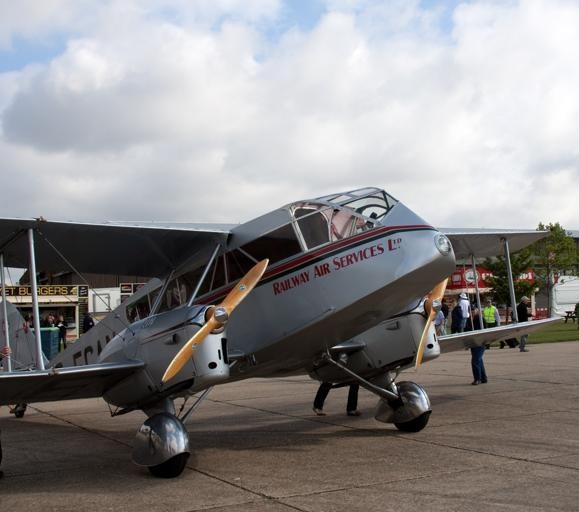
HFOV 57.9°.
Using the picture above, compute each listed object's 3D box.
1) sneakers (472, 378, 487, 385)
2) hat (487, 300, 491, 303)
[{"bbox_3d":[4.644,3.079,12.787,0.383,0.124,0.130,19,-26,-41],"label":"sneakers"},{"bbox_3d":[7.910,1.801,20.765,0.128,0.106,0.137,1,-16,11],"label":"hat"}]
